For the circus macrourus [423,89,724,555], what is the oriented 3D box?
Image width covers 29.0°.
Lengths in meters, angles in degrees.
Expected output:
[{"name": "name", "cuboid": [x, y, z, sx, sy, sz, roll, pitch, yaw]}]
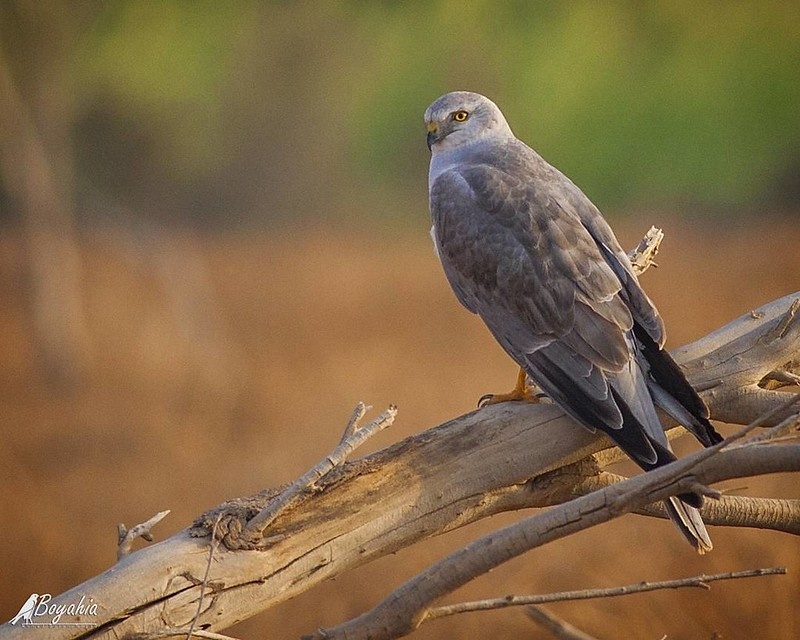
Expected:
[{"name": "circus macrourus", "cuboid": [0.661, -0.206, 7.211, 0.780, 2.188, 0.452, -26, -33, -1]}]
